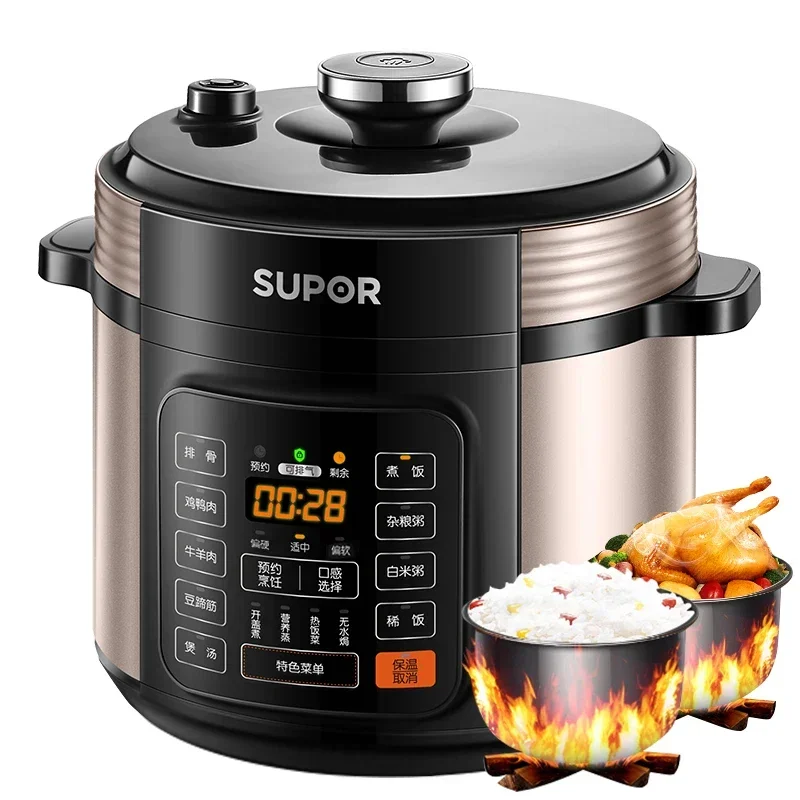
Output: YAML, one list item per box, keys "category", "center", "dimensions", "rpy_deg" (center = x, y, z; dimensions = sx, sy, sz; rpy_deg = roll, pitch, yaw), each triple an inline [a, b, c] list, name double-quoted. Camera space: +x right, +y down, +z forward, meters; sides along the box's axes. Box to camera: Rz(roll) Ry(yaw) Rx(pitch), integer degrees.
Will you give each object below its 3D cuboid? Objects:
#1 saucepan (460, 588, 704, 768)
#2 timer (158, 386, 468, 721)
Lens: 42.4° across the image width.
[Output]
- category: "saucepan"
  center: [0.151, 0.293, 1.029]
  dimensions: [0.274, 0.136, 0.254]
  rpy_deg: [-3, -5, 10]
- category: "timer"
  center: [-0.080, 0.161, 1.133]
  dimensions: [0.489, 0.318, 0.245]
  rpy_deg: [2, 7, 17]
